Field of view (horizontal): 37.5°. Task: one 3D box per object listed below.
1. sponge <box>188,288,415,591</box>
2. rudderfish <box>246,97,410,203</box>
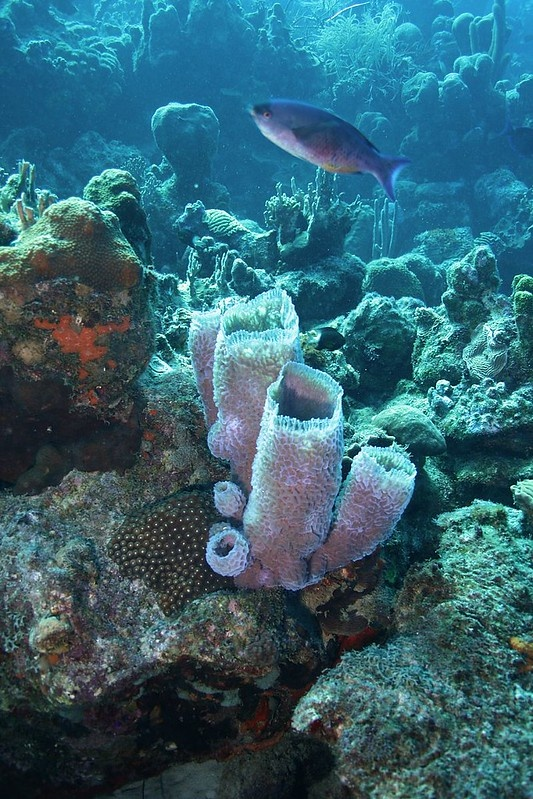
[{"bbox_3d":[0.046,0.202,5.432,1.413,2.007,1.594,3,17,-3],"label":"sponge"},{"bbox_3d":[0.399,-1.660,5.102,1.084,0.339,0.398,18,6,-13],"label":"rudderfish"}]
